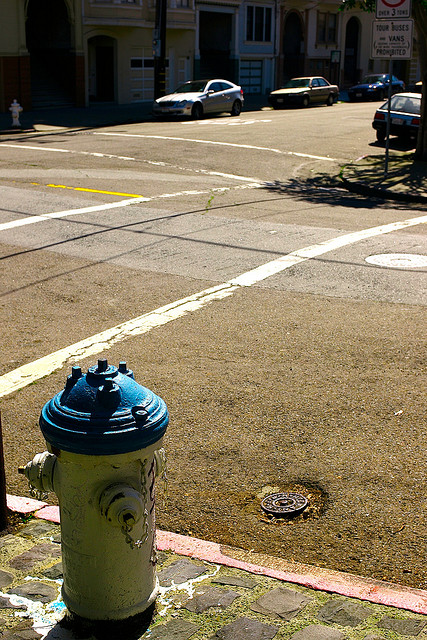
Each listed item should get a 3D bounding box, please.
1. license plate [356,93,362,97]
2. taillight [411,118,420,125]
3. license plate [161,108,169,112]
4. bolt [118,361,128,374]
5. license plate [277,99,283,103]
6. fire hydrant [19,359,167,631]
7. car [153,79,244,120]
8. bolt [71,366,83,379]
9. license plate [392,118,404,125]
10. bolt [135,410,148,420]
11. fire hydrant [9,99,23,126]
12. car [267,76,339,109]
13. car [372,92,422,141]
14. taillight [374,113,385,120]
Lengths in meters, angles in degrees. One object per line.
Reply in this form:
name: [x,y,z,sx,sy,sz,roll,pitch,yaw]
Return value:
license plate: [7.186,-11.119,44.356,0.223,0.165,0.126,0,-3,11]
taillight: [5.173,-5.110,23.077,0.043,0.158,0.228,-9,15,-33]
license plate: [-1.728,-7.473,31.922,0.151,0.153,0.041,4,-4,11]
bolt: [-0.403,0.201,3.945,0.046,0.047,0.045,13,27,20]
license plate: [2.896,-9.610,39.335,0.196,0.183,0.109,1,-4,8]
fire hydrant: [-0.464,0.750,3.806,0.524,1.162,0.348,-2,13,-3]
car: [-0.560,-8.186,33.304,1.348,1.443,3.861,8,16,35]
bolt: [-0.583,0.217,3.841,0.048,0.046,0.044,14,28,28]
license plate: [4.812,-5.205,23.504,0.089,0.163,0.376,-9,15,-33]
bolt: [-0.298,0.390,3.681,0.035,0.022,0.035,0,-3,39]
fire hydrant: [-6.343,-6.613,28.656,0.277,0.802,0.967,-3,13,-11]
car: [4.005,-10.208,40.289,1.413,1.417,3.398,9,16,38]
car: [4.808,-5.360,23.661,1.198,1.221,2.371,2,13,11]
taillight: [4.476,-5.454,24.095,0.182,0.130,0.188,-1,5,-21]
